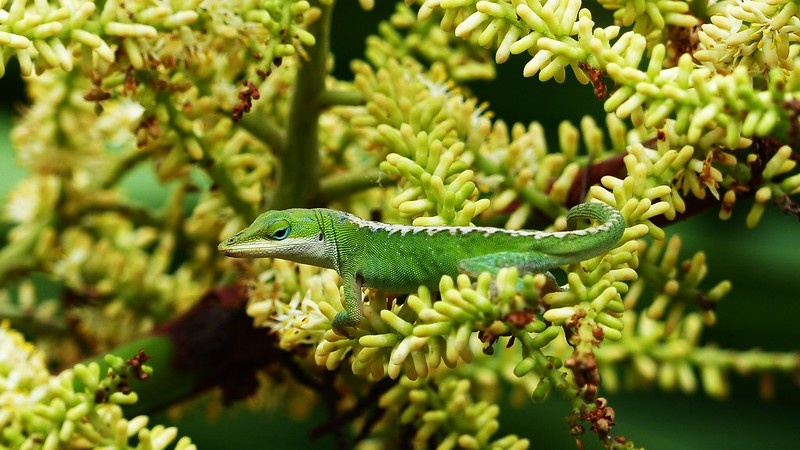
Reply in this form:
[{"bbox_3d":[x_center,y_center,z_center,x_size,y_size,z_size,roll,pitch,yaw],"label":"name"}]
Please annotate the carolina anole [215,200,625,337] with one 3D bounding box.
[{"bbox_3d":[0.027,0.057,1.183,0.593,0.218,0.165,-2,93,11],"label":"carolina anole"}]
